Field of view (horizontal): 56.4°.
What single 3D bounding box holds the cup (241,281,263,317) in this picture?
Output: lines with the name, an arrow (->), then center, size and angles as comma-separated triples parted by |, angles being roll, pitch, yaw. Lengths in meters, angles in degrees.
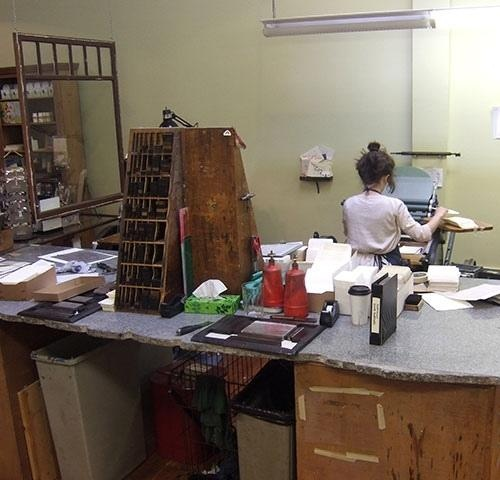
cup -> 0.022, 0.282, 2.206 | 0.090, 0.158, 0.094 | 0, 14, 0

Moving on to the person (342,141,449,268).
person -> 0.971, -0.321, 3.187 | 0.634, 0.906, 0.578 | 6, 14, 21

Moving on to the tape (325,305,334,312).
tape -> 0.340, 0.291, 1.990 | 0.019, 0.029, 0.023 | 1, -8, 30

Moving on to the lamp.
lamp -> 0.736, -1.676, 3.610 | 1.326, 0.133, 0.437 | 2, 15, 19

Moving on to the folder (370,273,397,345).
folder -> 0.518, 0.276, 1.808 | 0.067, 0.222, 0.209 | 3, 9, 21

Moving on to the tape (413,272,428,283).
tape -> 0.879, 0.192, 2.424 | 0.060, 0.016, 0.064 | -3, 11, 13

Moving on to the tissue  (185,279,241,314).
tissue  -> -0.204, 0.280, 2.289 | 0.287, 0.148, 0.295 | 2, -3, 16

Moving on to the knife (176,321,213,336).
knife -> -0.246, 0.364, 2.011 | 0.044, 0.030, 0.261 | 52, 25, 23
